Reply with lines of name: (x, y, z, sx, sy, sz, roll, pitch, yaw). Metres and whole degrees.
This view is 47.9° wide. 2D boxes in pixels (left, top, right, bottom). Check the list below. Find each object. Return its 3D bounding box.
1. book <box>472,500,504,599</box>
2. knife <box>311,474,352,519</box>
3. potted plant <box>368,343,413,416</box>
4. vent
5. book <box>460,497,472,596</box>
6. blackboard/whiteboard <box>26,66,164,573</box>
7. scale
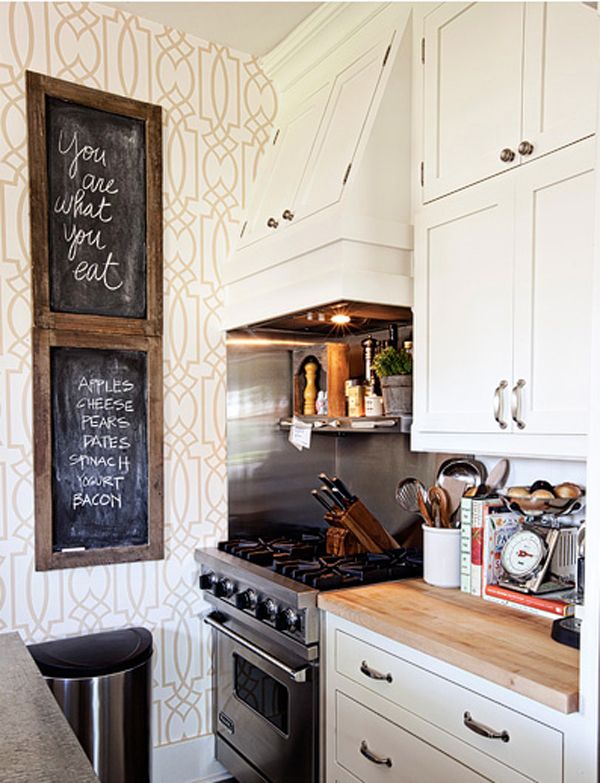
book: (0.553, 0.472, 1.974, 0.036, 0.353, 0.259, 0, -3, 28)
knife: (0.142, 0.405, 2.522, 0.050, 0.209, 0.145, -33, 49, -9)
potted plant: (0.309, -0.040, 2.264, 0.092, 0.221, 0.129, -7, 8, -42)
vent: (0.131, -0.254, 2.556, 0.523, 0.051, 0.853, 3, -2, -31)
book: (0.503, 0.462, 2.033, 0.032, 0.277, 0.073, 1, -2, 9)
blackboard/whiteboard: (-0.744, -0.247, 2.462, 0.550, 1.743, 0.059, 3, -2, -34)
scale: (0.680, 0.416, 1.910, 0.218, 0.272, 0.215, 5, -5, -30)
